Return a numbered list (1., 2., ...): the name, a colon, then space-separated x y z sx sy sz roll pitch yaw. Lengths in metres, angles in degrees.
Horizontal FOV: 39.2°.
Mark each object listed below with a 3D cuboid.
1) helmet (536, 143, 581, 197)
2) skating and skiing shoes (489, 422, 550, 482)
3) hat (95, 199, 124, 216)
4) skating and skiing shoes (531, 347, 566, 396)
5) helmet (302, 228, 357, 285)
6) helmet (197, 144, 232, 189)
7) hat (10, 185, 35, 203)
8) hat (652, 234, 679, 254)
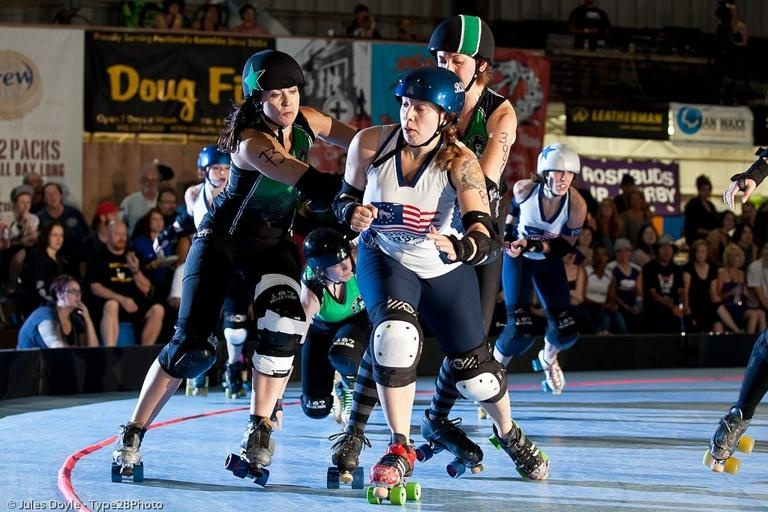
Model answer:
1. helmet: 1.784 -0.913 11.232 0.379 0.589 0.496 -1 8 -29
2. skating and skiing shoes: 1.135 1.583 8.720 0.269 0.640 0.285 -39 -11 9
3. hat: -3.502 -0.587 13.655 0.278 0.129 0.203 -8 10 -17
4. skating and skiing shoes: 1.823 1.215 11.488 0.486 0.256 0.236 -29 -3 -36
5. helmet: -0.491 0.007 9.324 0.424 0.495 0.376 9 25 29
6. helmet: -1.733 -0.987 11.089 0.323 0.497 0.412 0 17 -14
7. hat: -4.502 -0.763 13.438 0.281 0.195 0.214 -2 7 -22
8. hat: 3.784 -0.123 14.440 0.209 0.326 0.303 2 -6 7
